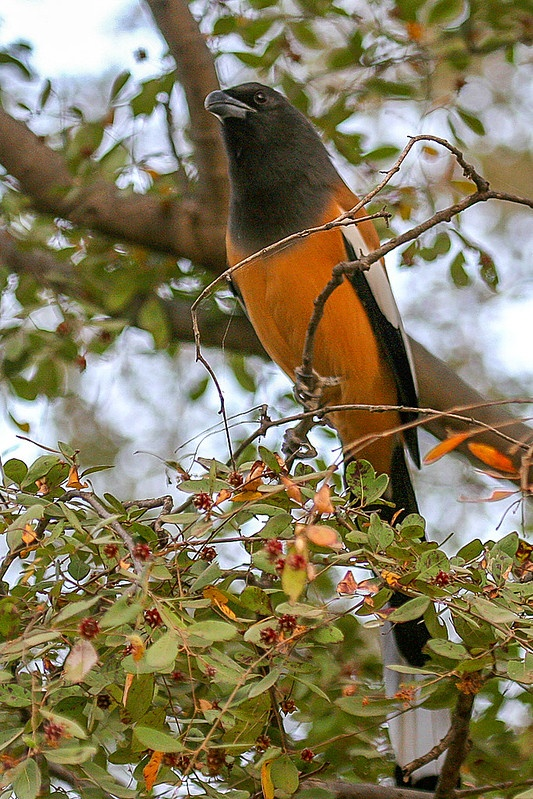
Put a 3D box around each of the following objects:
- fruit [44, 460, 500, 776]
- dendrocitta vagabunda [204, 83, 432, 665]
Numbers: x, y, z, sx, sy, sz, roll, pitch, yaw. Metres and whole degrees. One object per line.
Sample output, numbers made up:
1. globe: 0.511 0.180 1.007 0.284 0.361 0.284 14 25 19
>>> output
1. fruit: -0.074 0.406 1.964 0.913 0.760 0.407 9 -60 -8
2. dendrocitta vagabunda: 0.145 -0.228 3.329 0.856 1.080 1.476 -3 -74 2
